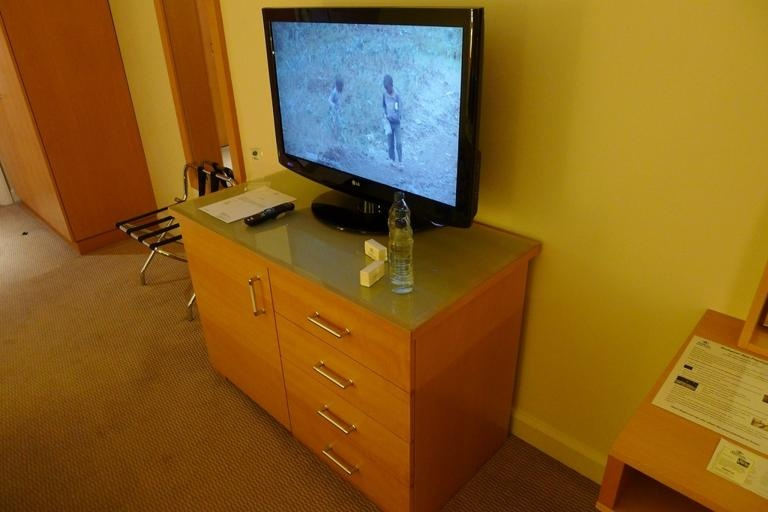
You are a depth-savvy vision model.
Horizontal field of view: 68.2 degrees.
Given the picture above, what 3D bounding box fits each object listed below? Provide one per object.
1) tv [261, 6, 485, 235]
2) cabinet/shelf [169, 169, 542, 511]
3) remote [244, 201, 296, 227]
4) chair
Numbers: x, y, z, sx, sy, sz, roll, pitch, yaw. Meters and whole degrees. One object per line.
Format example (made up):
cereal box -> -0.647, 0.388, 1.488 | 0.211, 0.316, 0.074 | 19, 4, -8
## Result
tv -> -0.023, -0.555, 2.289 | 0.850, 0.644, 0.283 | 23, 39, 34
cabinet/shelf -> -0.069, 0.371, 2.373 | 0.624, 0.789, 1.140 | -24, 38, -37
remote -> -0.505, -0.185, 2.554 | 0.274, 0.055, 0.081 | -29, 42, -32
chair -> -1.258, -0.077, 3.384 | 0.694, 0.706, 0.502 | 26, 42, 27
